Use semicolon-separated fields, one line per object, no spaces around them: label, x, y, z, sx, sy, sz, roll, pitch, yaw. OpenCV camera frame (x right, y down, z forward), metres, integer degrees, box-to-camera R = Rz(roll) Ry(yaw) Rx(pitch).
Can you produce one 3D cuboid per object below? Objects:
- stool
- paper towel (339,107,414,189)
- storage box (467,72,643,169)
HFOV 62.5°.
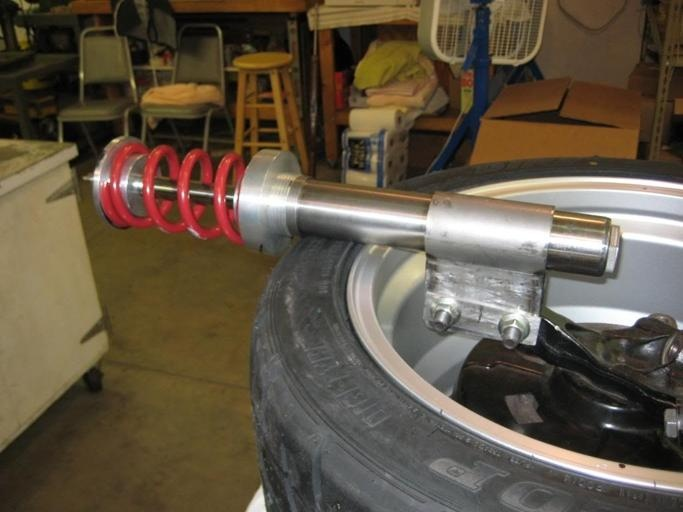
stool;-0.435;-0.917;3.536;0.471;0.693;0.981;-2;22;-10
paper towel;0.199;-0.605;3.086;0.328;0.416;0.422;10;23;21
storage box;0.832;-0.515;2.165;0.540;0.281;0.705;12;24;23
